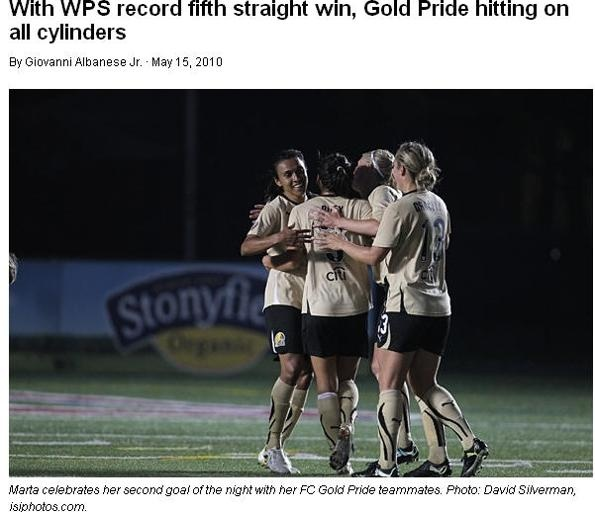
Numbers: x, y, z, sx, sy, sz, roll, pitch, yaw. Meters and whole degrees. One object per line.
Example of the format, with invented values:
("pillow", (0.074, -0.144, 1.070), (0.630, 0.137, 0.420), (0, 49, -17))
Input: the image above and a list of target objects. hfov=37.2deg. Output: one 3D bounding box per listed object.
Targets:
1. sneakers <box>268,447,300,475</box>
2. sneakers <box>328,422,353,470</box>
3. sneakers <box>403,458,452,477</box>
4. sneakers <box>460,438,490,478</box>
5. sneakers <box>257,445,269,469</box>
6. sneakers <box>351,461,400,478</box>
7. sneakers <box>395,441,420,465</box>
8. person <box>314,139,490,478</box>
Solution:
("sneakers", (-0.143, 2.021, 8.683), (0.174, 0.150, 0.305), (11, 1, -42))
("sneakers", (0.415, 1.795, 8.388), (0.167, 0.479, 0.199), (6, -4, 21))
("sneakers", (1.245, 2.003, 8.481), (0.459, 0.229, 0.187), (0, -11, 0))
("sneakers", (1.725, 1.900, 8.483), (0.196, 0.304, 0.613), (-11, -30, -6))
("sneakers", (-0.347, 2.012, 8.825), (0.075, 0.261, 0.100), (6, -13, -44))
("sneakers", (0.736, 2.030, 8.327), (0.430, 0.206, 0.163), (-1, -14, 14))
("sneakers", (1.125, 2.008, 9.010), (0.113, 0.203, 0.367), (2, 6, 21))
("person", (1.068, 0.536, 8.282), (1.217, 3.117, 0.500), (0, 7, -6))
